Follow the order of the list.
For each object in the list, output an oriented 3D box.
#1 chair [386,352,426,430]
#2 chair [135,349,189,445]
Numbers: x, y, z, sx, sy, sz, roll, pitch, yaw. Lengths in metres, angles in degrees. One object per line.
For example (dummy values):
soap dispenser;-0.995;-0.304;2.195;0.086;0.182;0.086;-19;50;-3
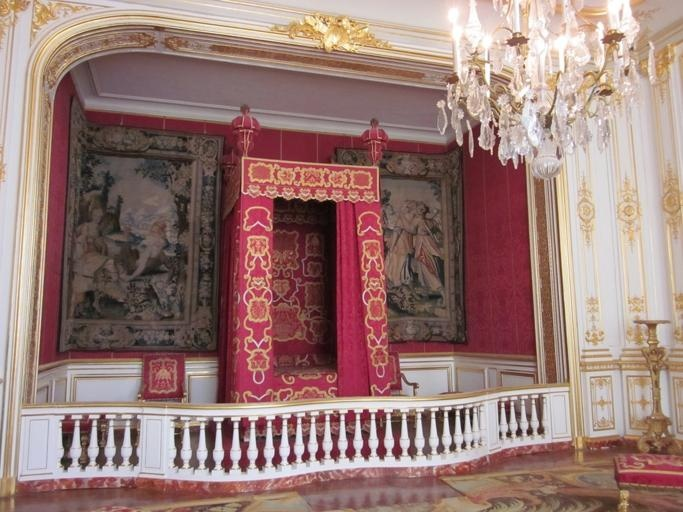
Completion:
chair;0.652;1.665;10.158;0.615;0.881;0.671;-1;-5;7
chair;-2.176;1.690;9.666;0.764;1.012;0.780;-7;-14;19
